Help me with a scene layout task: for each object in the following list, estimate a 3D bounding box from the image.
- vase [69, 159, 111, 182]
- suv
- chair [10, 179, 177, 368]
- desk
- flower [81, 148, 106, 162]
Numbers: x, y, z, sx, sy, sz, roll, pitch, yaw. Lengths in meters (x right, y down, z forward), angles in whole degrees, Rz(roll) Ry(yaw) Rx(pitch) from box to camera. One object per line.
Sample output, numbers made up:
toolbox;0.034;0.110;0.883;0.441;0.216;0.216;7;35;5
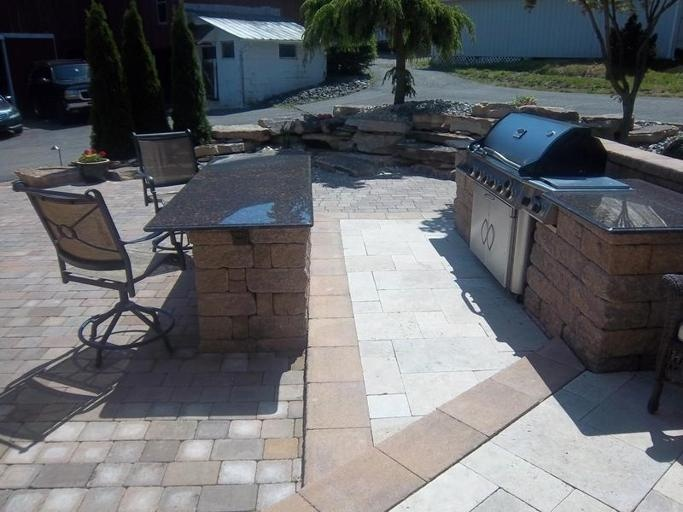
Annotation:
vase;-4.672;-1.628;9.098;0.660;0.276;0.531;0;16;0
suv;-9.681;-5.730;16.655;1.827;1.937;3.227;-20;28;-27
chair;-1.706;0.054;3.649;0.882;1.378;0.842;-20;31;-24
desk;-0.745;-0.281;4.274;1.166;0.754;1.785;0;30;0
flower;-4.798;-1.900;9.242;0.491;0.159;0.465;-6;8;-38
